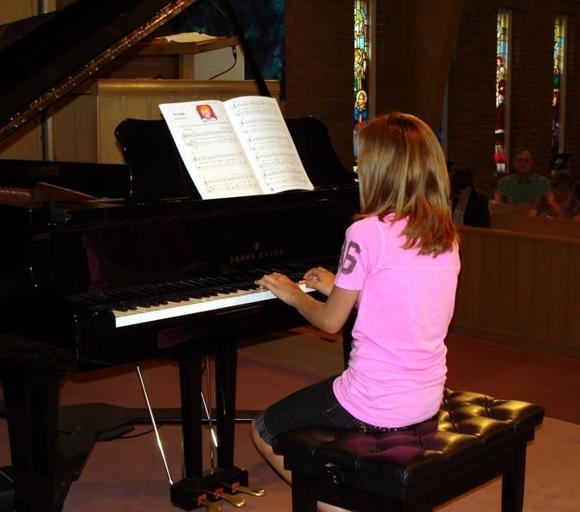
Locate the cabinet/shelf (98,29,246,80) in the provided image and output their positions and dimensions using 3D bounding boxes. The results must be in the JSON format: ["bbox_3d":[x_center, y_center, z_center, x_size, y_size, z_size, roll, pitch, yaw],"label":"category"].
[{"bbox_3d":[-0.668,-1.332,3.998,0.445,0.308,1.281,5,16,40],"label":"cabinet/shelf"}]
